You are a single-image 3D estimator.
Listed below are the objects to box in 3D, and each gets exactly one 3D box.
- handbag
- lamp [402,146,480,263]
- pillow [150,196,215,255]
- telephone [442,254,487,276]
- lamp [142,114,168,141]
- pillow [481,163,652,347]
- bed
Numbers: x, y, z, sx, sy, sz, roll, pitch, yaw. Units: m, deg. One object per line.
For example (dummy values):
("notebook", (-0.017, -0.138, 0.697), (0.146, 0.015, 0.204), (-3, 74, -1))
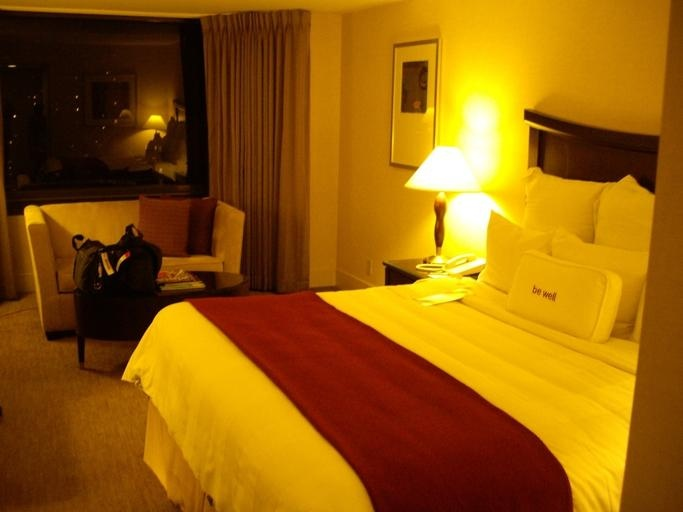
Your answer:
("handbag", (-1.655, -0.009, 3.860), (0.665, 0.512, 0.670), (2, 4, 23))
("lamp", (0.728, -0.349, 3.939), (0.489, 0.806, 0.510), (1, 3, -37))
("pillow", (-1.426, -0.252, 4.789), (0.407, 0.208, 0.409), (5, 54, -12))
("telephone", (0.851, 0.069, 3.708), (0.246, 0.101, 0.151), (-5, 7, -19))
("lamp", (-2.003, -1.408, 5.848), (0.199, 0.355, 0.239), (6, 16, 2))
("pillow", (1.137, -0.003, 2.689), (0.244, 0.916, 0.835), (14, -2, -31))
("bed", (0.225, 0.138, 2.747), (2.085, 1.503, 2.243), (0, 11, -17))
